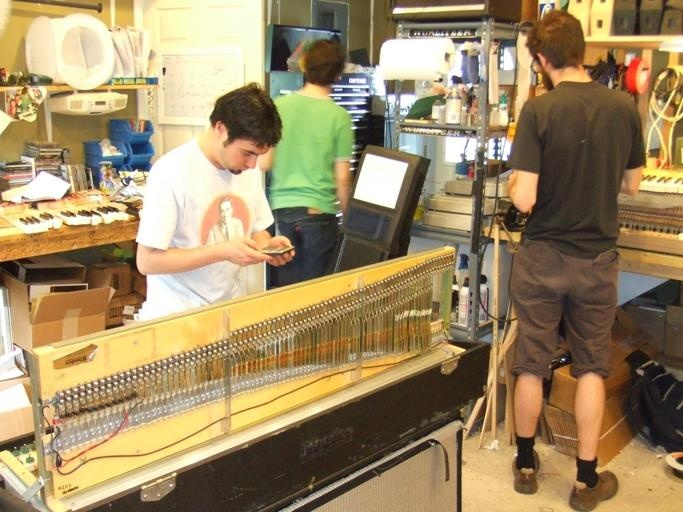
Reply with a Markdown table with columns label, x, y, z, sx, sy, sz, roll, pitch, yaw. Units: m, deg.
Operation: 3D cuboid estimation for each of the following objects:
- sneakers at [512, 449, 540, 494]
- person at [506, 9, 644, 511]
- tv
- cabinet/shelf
| label | x | y | z | sx | sy | sz | roll | pitch | yaw |
| --- | --- | --- | --- | --- | --- | --- | --- | --- | --- |
| sneakers | 1.002 | 1.133 | 3.143 | 0.062 | 0.071 | 0.155 | 7 | 9 | -45 |
| person | 1.192 | 0.203 | 2.990 | 0.662 | 2.125 | 0.498 | -2 | 12 | 9 |
| tv | 0.207 | -0.395 | 3.093 | 0.301 | 0.294 | 0.069 | 18 | 10 | 40 |
| cabinet/shelf | 0.726 | -0.483 | 3.739 | 0.574 | 1.999 | 0.626 | 7 | 17 | 43 |
